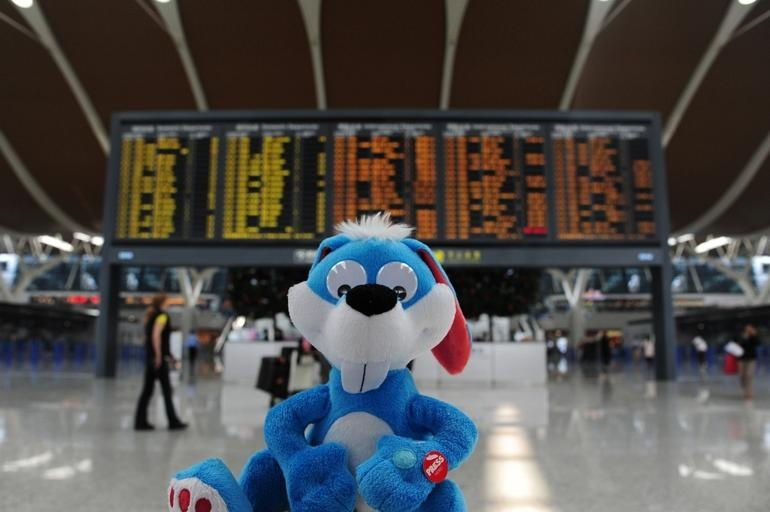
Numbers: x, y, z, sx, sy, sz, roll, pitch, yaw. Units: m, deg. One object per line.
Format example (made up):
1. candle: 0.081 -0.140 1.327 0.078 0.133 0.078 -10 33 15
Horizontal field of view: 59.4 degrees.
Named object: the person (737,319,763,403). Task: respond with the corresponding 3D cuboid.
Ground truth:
1. person: 6.384 1.798 11.945 0.348 1.240 0.797 -7 -11 37
